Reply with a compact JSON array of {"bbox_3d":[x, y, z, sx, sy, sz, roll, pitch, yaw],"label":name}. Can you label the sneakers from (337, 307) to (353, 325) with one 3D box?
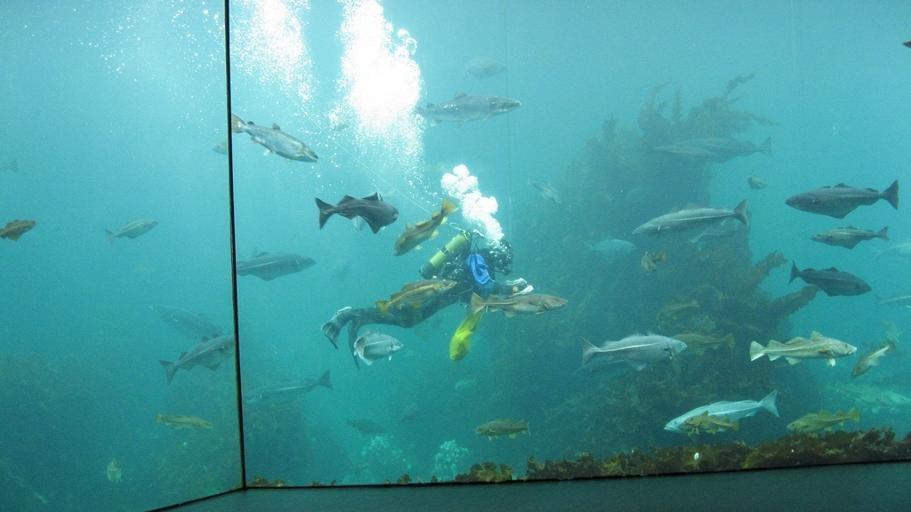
[{"bbox_3d":[-1.958,1.033,12.825,0.304,0.265,0.224,1,3,36],"label":"sneakers"}]
